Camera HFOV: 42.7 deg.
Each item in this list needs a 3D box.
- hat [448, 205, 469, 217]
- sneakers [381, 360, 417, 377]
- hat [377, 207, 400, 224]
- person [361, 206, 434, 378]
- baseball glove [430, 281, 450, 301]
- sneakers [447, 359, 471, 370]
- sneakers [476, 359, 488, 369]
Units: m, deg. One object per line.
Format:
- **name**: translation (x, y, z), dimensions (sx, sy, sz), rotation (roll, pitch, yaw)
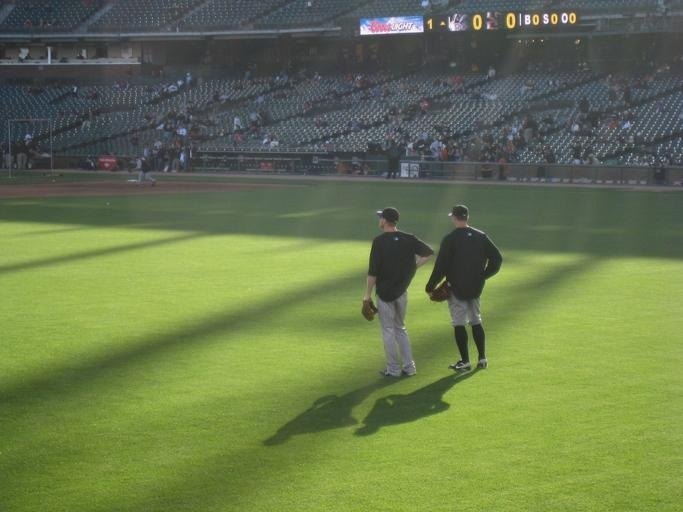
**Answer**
- **hat**: translation (1.671, -0.647, 12.317), dimensions (0.234, 0.169, 0.603), rotation (2, 12, 11)
- **sneakers**: translation (0.790, 1.545, 12.032), dimensions (0.456, 0.200, 0.200), rotation (1, 1, -1)
- **hat**: translation (0.650, -0.541, 11.893), dimensions (0.226, 0.185, 0.318), rotation (2, 27, -26)
- **person**: translation (0.732, 0.501, 11.921), dimensions (0.858, 2.298, 0.473), rotation (0, 12, -1)
- **baseball glove**: translation (1.361, 0.483, 12.041), dimensions (0.195, 0.114, 0.169), rotation (-20, 53, -6)
- **sneakers**: translation (1.669, 1.522, 12.255), dimensions (0.291, 0.126, 0.126), rotation (2, 2, 11)
- **sneakers**: translation (1.983, 1.515, 12.258), dimensions (0.107, 0.139, 0.143), rotation (-1, -1, 0)
